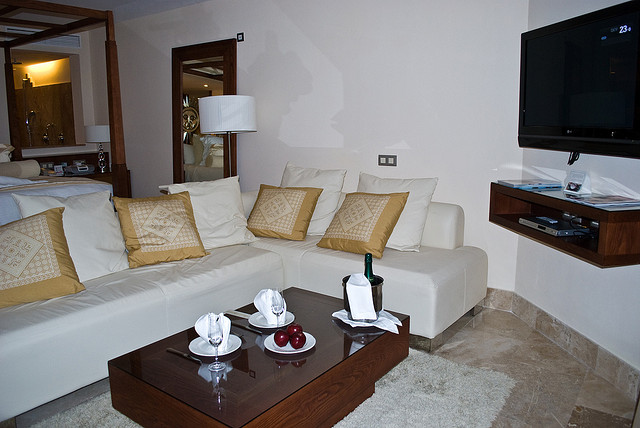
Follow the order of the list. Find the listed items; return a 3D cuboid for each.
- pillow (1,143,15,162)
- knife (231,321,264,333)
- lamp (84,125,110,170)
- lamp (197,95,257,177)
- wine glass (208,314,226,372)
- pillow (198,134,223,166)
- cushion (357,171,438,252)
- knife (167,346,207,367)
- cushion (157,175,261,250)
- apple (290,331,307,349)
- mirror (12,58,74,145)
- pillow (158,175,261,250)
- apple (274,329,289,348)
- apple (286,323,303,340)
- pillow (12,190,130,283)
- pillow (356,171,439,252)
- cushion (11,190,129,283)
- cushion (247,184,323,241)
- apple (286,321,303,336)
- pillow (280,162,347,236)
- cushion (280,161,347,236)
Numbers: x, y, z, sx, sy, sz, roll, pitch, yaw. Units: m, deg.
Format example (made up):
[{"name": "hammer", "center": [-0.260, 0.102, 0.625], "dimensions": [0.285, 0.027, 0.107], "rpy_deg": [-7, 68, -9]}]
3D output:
[{"name": "pillow", "center": [-3.943, -0.763, 5.030], "dimensions": [0.136, 0.189, 0.457], "rpy_deg": [-12, 18, -35]}, {"name": "knife", "center": [-0.471, 0.724, 2.561], "dimensions": [0.241, 0.011, 0.037], "rpy_deg": [8, 17, 33]}, {"name": "lamp", "center": [-3.566, -1.082, 6.484], "dimensions": [0.413, 0.690, 0.304], "rpy_deg": [12, 20, 42]}, {"name": "lamp", "center": [-1.166, -0.903, 4.963], "dimensions": [0.757, 1.241, 0.750], "rpy_deg": [-6, 30, -21]}, {"name": "wine glass", "center": [-0.581, 0.708, 2.201], "dimensions": [0.100, 0.292, 0.129], "rpy_deg": [-5, 15, -14]}, {"name": "pillow", "center": [-1.483, -0.885, 5.651], "dimensions": [0.396, 0.406, 0.155], "rpy_deg": [15, 8, 39]}, {"name": "cushion", "center": [0.800, -0.062, 3.774], "dimensions": [0.707, 0.715, 0.218], "rpy_deg": [9, -19, 34]}, {"name": "knife", "center": [-0.757, 0.818, 2.282], "dimensions": [0.181, 0.027, 0.019], "rpy_deg": [16, 37, 28]}, {"name": "cushion", "center": [-1.000, -0.023, 3.885], "dimensions": [0.785, 0.728, 0.226], "rpy_deg": [-11, -9, -36]}, {"name": "apple", "center": [-0.126, 0.735, 2.376], "dimensions": [0.086, 0.105, 0.087], "rpy_deg": [24, -8, 5]}, {"name": "mirror", "center": [-5.928, -2.380, 8.654], "dimensions": [1.641, 1.914, 0.141], "rpy_deg": [-3, 2, 9]}, {"name": "pillow", "center": [-0.992, -0.021, 3.889], "dimensions": [0.768, 0.737, 0.221], "rpy_deg": [-13, -8, -36]}, {"name": "apple", "center": [-0.228, 0.729, 2.346], "dimensions": [0.081, 0.099, 0.083], "rpy_deg": [1, 19, -25]}, {"name": "apple", "center": [-0.155, 0.701, 2.397], "dimensions": [0.074, 0.070, 0.073], "rpy_deg": [-7, 12, -43]}, {"name": "pillow", "center": [-1.985, 0.218, 3.287], "dimensions": [0.225, 0.738, 0.766], "rpy_deg": [-14, -2, 33]}, {"name": "pillow", "center": [0.782, -0.022, 3.763], "dimensions": [0.701, 0.709, 0.228], "rpy_deg": [9, -18, 38]}, {"name": "cushion", "center": [-1.958, 0.149, 3.259], "dimensions": [0.231, 0.762, 0.789], "rpy_deg": [-14, -3, 33]}, {"name": "cushion", "center": [-0.377, -0.026, 4.032], "dimensions": [0.659, 0.556, 0.180], "rpy_deg": [11, -9, 27]}, {"name": "apple", "center": [-0.157, 0.688, 2.404], "dimensions": [0.064, 0.061, 0.063], "rpy_deg": [2, 3, -42]}, {"name": "pillow", "center": [-0.075, -0.133, 4.109], "dimensions": [0.684, 0.631, 0.344], "rpy_deg": [12, 16, 34]}, {"name": "cushion", "center": [-0.071, -0.136, 4.117], "dimensions": [0.691, 0.658, 0.365], "rpy_deg": [10, 21, 36]}]
